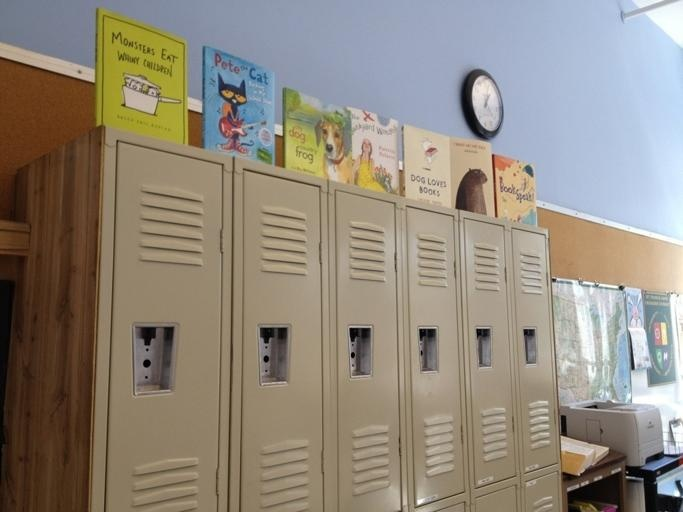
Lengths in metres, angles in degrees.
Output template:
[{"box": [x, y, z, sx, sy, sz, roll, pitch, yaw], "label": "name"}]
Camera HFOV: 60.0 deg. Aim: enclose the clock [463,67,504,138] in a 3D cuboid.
[{"box": [1.131, -1.219, 4.768, 0.056, 0.636, 0.551, -14, -18, 42], "label": "clock"}]
